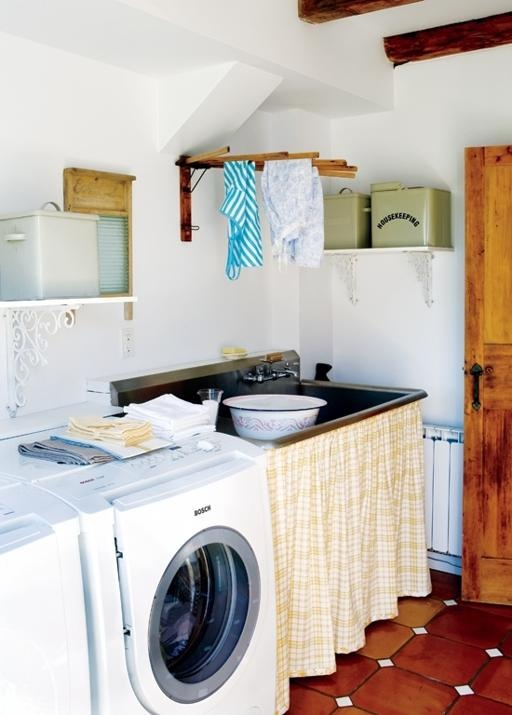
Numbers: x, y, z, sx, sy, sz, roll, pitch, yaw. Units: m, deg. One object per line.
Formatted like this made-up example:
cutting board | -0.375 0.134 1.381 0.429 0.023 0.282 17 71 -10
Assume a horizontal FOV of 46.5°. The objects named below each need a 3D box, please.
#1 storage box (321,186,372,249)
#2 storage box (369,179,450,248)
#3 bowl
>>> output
storage box | 0.448 -0.652 2.898 0.231 0.280 0.145 -1 2 4
storage box | 0.719 -0.664 2.808 0.300 0.282 0.299 7 15 34
bowl | 0.055 0.219 2.091 0.363 0.117 0.556 0 2 8
